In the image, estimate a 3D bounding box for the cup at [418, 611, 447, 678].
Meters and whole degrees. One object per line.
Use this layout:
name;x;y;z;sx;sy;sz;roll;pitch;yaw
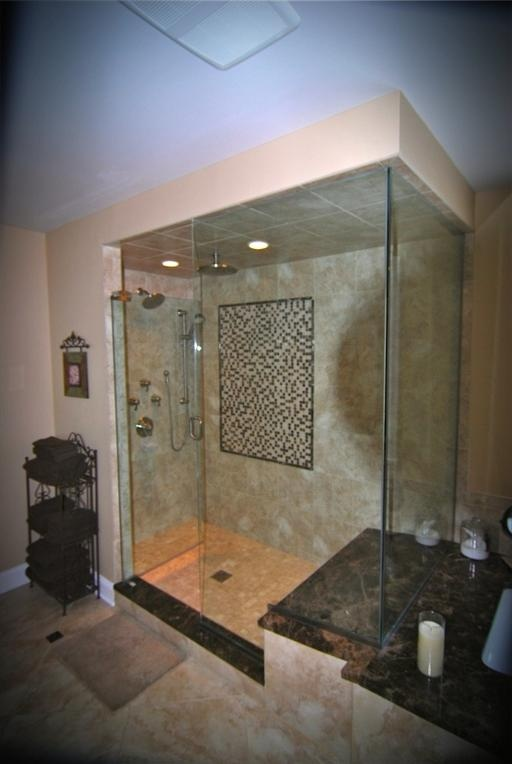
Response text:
cup;0.444;0.669;1.469;0.068;0.136;0.074;-3;6;0

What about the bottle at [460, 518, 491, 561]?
bottle;0.812;0.587;2.165;0.075;0.129;0.119;-5;10;-31

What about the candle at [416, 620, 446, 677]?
candle;0.442;0.668;1.460;0.064;0.118;0.092;4;9;19

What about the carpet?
carpet;-0.517;1.057;2.267;0.354;0.485;0.029;-27;37;2
